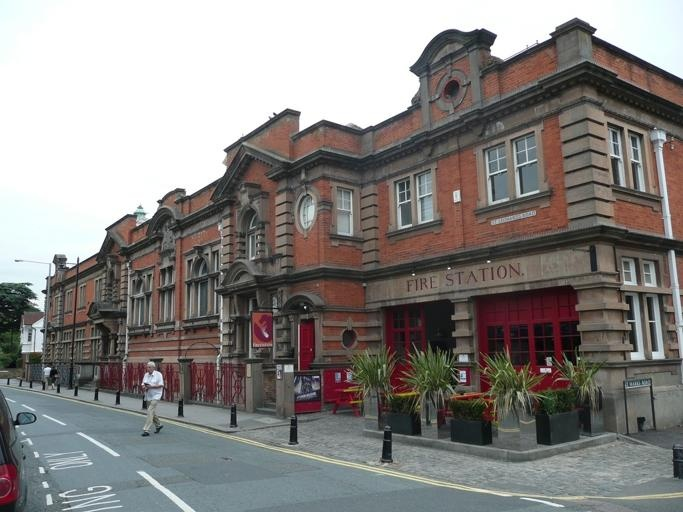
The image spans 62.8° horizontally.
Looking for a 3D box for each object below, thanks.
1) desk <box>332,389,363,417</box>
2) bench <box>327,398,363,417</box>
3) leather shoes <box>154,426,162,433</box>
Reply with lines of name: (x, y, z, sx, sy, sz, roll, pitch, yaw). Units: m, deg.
desk: (0.315, 5.717, 21.941, 1.011, 0.884, 1.362, 16, -36, -22)
bench: (0.348, 5.959, 22.104, 0.848, 0.853, 1.120, 14, -17, -40)
leather shoes: (-6.131, 5.806, 18.732, 0.223, 0.185, 0.512, 15, -40, -7)
